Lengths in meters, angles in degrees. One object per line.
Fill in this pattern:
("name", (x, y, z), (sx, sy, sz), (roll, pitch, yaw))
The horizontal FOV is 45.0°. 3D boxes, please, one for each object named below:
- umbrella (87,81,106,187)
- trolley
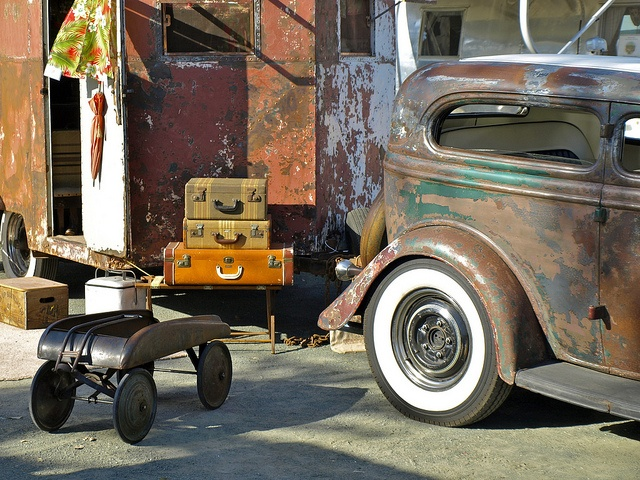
("umbrella", (-2.027, -0.956, 7.011), (0.224, 0.824, 0.104), (8, 13, 36))
("trolley", (-1.262, 0.763, 5.308), (0.699, 0.652, 1.165), (2, 7, 30))
